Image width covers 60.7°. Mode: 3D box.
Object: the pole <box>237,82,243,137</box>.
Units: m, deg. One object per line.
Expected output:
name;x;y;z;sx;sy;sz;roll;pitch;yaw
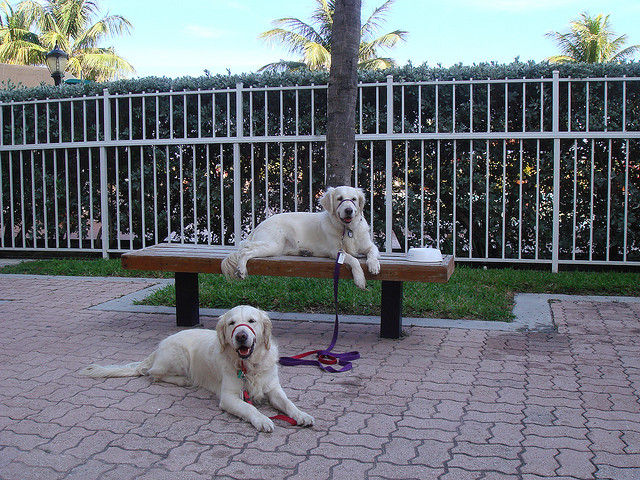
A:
pole;-1.303;-2.106;8.859;0.098;0.847;0.191;-2;12;-9

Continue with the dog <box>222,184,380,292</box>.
dog;-0.156;-0.055;5.566;1.381;0.733;1.104;3;4;43

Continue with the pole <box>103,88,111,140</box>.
pole;-3.753;-2.203;9.580;0.126;0.857;0.291;-5;12;-21

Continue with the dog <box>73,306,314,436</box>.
dog;-0.831;0.773;4.559;1.492;0.560;1.068;10;8;40

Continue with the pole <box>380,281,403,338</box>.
pole;0.755;0.723;5.718;0.217;0.610;0.088;1;12;7

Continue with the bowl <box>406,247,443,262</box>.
bowl;1.049;0.146;5.426;0.351;0.150;0.238;1;11;9
